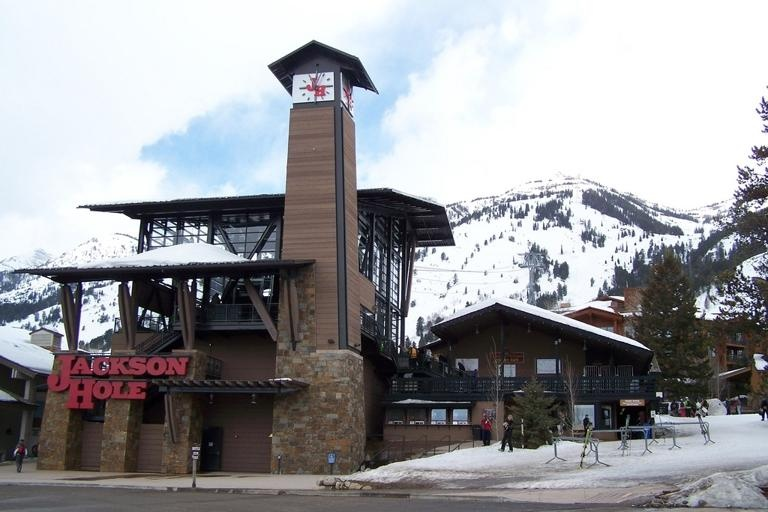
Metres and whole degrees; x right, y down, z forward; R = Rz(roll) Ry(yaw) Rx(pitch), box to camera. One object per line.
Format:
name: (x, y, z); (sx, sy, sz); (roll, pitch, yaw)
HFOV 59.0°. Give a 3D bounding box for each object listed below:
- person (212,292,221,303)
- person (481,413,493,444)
person: (-11.894, 3.044, 47.919); (0.617, 1.013, 1.101); (4, -19, -17)
person: (6.304, 10.607, 41.266); (0.522, 1.884, 0.990); (-3, -18, 5)
